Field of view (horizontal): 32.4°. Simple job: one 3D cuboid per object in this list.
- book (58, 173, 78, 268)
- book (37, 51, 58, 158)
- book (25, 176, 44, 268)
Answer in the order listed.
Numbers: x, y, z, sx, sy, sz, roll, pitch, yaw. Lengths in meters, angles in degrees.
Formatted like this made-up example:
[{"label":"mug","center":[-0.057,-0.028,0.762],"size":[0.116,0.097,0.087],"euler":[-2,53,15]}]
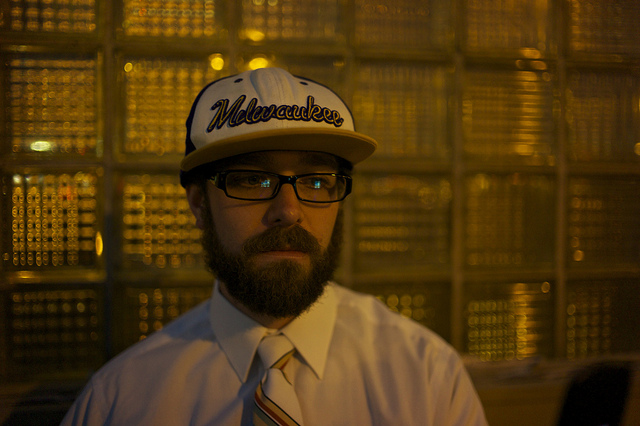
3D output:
[{"label":"book","center":[-2.052,0.015,9.000],"size":[0.171,0.061,0.884],"euler":[-1,-60,-14]},{"label":"book","center":[-2.223,-1.022,8.981],"size":[0.191,0.075,1.107],"euler":[-9,-70,-34]},{"label":"book","center":[-2.338,0.013,9.042],"size":[0.138,0.854,0.082],"euler":[-7,-33,-4]}]
